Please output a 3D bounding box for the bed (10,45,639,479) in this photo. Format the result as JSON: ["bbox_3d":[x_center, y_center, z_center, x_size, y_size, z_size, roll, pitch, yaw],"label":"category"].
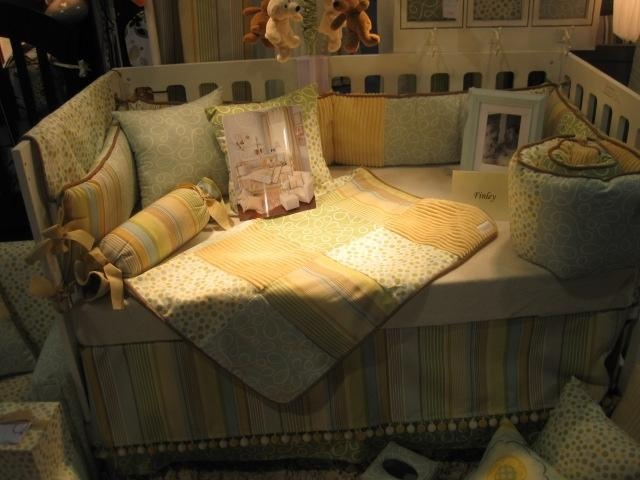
[{"bbox_3d":[0.108,0.198,1.955,1.677,1.212,1.081,-5,43,-2],"label":"bed"}]

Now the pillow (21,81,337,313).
[{"bbox_3d":[-0.509,-0.287,2.054,0.885,0.858,0.572,-11,-9,-18],"label":"pillow"}]
